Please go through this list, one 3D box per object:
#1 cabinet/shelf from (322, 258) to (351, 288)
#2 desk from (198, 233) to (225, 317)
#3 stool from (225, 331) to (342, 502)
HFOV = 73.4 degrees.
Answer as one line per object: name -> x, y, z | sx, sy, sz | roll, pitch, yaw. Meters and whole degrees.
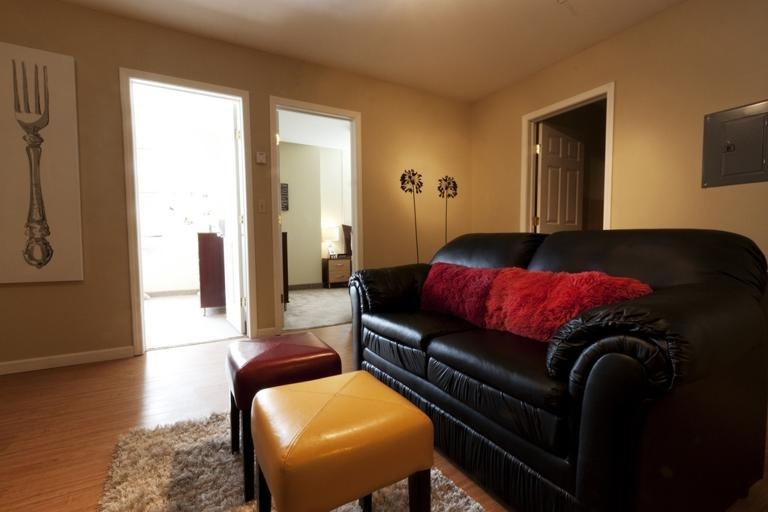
cabinet/shelf -> -0.836, 0.274, 8.935 | 0.480, 0.499, 0.309 | -1, -1, -30
desk -> -2.275, 0.136, 6.983 | 0.354, 1.103, 0.624 | 1, 18, -14
stool -> -0.704, 1.068, 3.883 | 0.844, 1.194, 0.894 | -1, -1, -30
